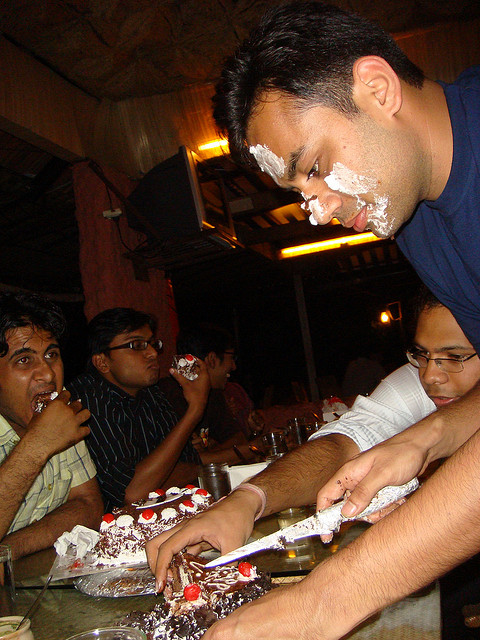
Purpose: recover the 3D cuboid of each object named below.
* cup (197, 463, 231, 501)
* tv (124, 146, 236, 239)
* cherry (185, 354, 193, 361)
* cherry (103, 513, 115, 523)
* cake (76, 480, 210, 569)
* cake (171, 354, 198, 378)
[{"bbox_3d":[-0.101,0.649,2.120,0.153,0.140,0.135,6,-10,-32],"label":"cup"},{"bbox_3d":[-0.536,-1.010,4.411,0.974,0.558,0.727,-10,2,1],"label":"tv"},{"bbox_3d":[-0.308,0.221,3.090,0.044,0.029,0.077,-14,2,-19],"label":"cherry"},{"bbox_3d":[-0.470,0.696,1.837,0.027,0.013,0.026,4,1,28],"label":"cherry"},{"bbox_3d":[-0.358,0.721,1.880,0.398,0.103,0.375,-17,-8,10],"label":"cake"},{"bbox_3d":[-0.326,0.253,3.170,0.155,0.135,0.143,12,29,20],"label":"cake"}]
